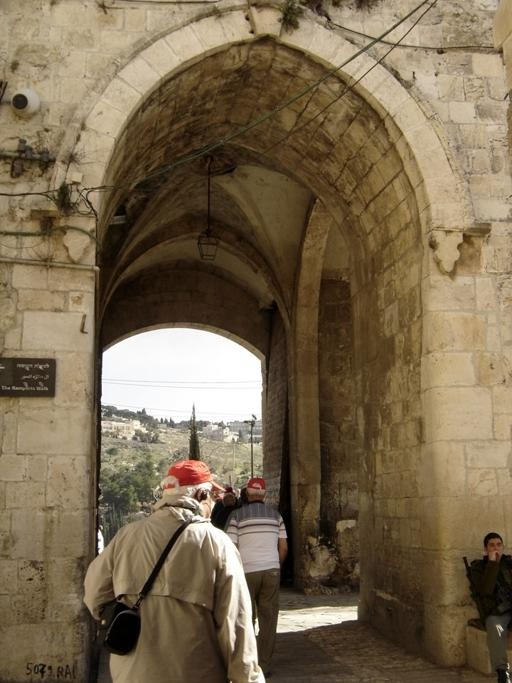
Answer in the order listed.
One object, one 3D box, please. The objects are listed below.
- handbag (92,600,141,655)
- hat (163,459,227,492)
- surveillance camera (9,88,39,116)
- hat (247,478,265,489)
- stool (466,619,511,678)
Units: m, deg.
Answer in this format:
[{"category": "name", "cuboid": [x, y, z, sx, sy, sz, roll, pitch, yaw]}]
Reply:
[{"category": "handbag", "cuboid": [-0.440, 0.957, 2.368, 0.125, 0.172, 0.174, 10, -44, -5]}, {"category": "hat", "cuboid": [-0.231, 0.490, 2.657, 0.173, 0.083, 0.115, 2, -3, -27]}, {"category": "surveillance camera", "cuboid": [-1.694, -1.754, 5.307, 0.209, 0.179, 0.139, 5, -13, -20]}, {"category": "hat", "cuboid": [0.010, 1.005, 5.084, 0.106, 0.079, 0.166, 5, -7, 6]}, {"category": "stool", "cuboid": [1.491, 1.958, 4.583, 0.241, 0.376, 0.444, 3, -12, 1]}]
